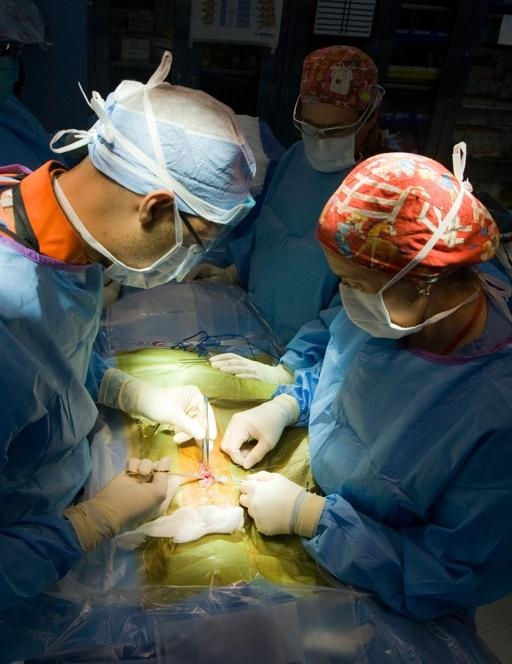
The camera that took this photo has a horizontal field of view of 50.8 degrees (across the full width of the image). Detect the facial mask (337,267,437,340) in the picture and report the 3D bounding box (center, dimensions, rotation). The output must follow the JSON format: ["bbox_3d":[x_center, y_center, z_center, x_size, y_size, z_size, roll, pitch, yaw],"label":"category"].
[{"bbox_3d":[0.311,-0.057,1.313,0.169,0.070,0.161,44,16,7],"label":"facial mask"}]

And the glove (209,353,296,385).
[{"bbox_3d":[-0.010,0.164,2.027,0.249,0.059,0.137,11,5,-33],"label":"glove"}]

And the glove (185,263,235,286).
[{"bbox_3d":[-0.226,-0.280,2.695,0.198,0.121,0.063,-21,18,11],"label":"glove"}]

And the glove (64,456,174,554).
[{"bbox_3d":[-0.407,0.451,1.389,0.181,0.163,0.339,-18,0,28],"label":"glove"}]

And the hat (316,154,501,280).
[{"bbox_3d":[0.315,-0.228,1.235,0.374,0.178,0.243,15,44,-2],"label":"hat"}]

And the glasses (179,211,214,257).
[{"bbox_3d":[-0.145,-0.224,1.263,0.047,0.082,0.055,-44,35,-15],"label":"glasses"}]
